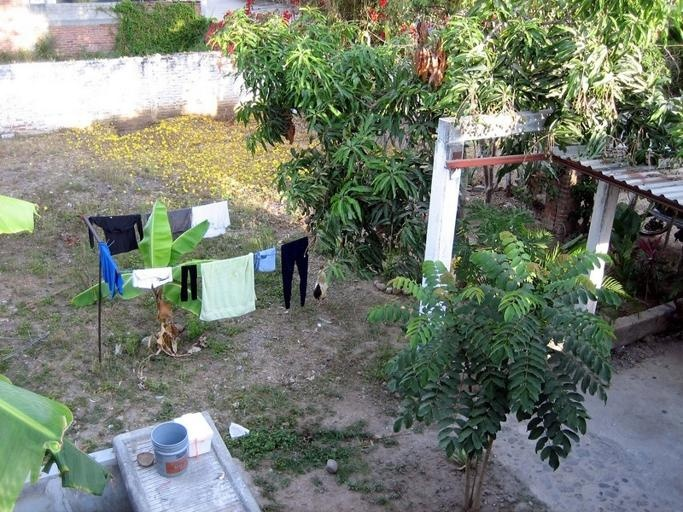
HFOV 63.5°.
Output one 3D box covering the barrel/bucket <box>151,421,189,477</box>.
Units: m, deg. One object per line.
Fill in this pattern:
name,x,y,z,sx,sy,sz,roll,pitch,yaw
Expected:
barrel/bucket,-1.712,1.953,5.573,0.350,0.399,0.375,1,20,0
